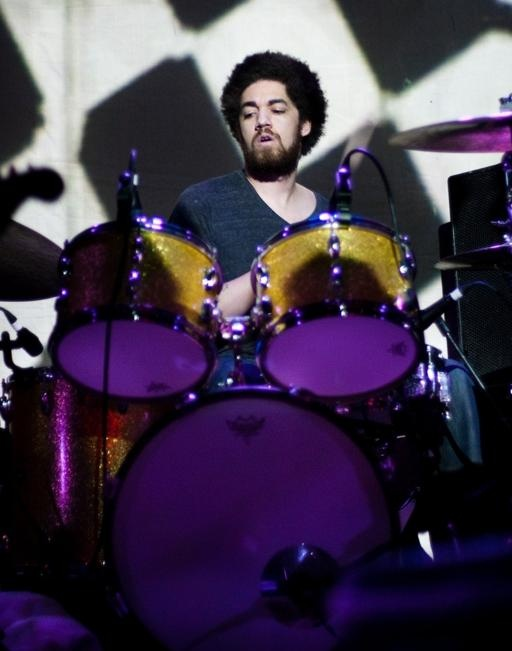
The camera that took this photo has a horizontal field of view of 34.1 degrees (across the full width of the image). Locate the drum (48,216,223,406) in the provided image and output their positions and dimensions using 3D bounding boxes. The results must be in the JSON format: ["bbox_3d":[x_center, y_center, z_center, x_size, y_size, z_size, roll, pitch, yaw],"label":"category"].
[{"bbox_3d":[-0.218,-0.020,1.527,0.304,0.355,0.207,-1,5,-3],"label":"drum"}]

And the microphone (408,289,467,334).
[{"bbox_3d":[0.450,-0.030,2.033,0.185,0.050,0.049,-31,17,12],"label":"microphone"}]

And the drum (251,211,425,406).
[{"bbox_3d":[0.141,-0.065,1.613,0.339,0.316,0.235,2,38,-4],"label":"drum"}]
